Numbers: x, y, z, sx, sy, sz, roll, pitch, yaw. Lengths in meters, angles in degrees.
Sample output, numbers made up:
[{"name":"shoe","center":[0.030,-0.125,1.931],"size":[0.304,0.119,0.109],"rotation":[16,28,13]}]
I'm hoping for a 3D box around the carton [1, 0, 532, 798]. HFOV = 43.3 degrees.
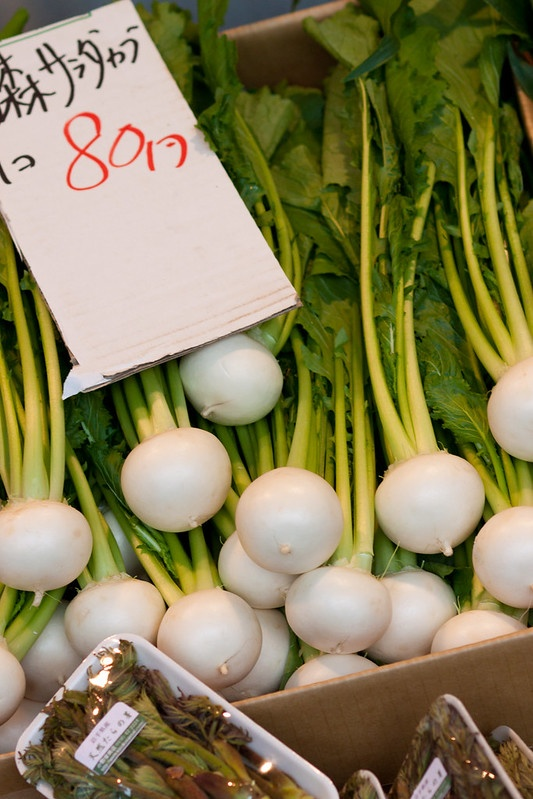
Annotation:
[{"name":"carton","center":[0.049,-0.006,1.531],"size":[1.014,0.434,1.344],"rotation":[-6,71,-4]}]
